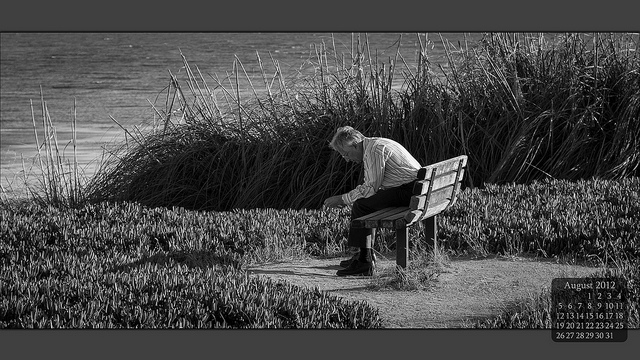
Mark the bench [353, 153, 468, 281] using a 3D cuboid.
[{"bbox_3d":[1.638,0.639,16.983,1.161,1.660,2.840,6,6,20],"label":"bench"}]
